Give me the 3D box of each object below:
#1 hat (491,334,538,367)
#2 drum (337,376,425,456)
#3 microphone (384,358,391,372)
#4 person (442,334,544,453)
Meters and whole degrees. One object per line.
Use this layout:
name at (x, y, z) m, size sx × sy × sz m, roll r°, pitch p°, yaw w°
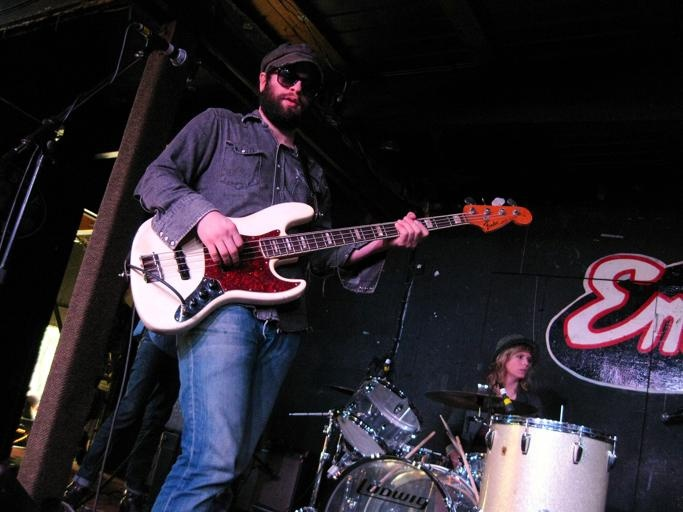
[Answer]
hat at (1.728, 0.925, 5.255) m, size 0.313 × 0.283 × 0.123 m, roll -21°, pitch 42°, yaw 39°
drum at (0.216, 1.306, 4.257) m, size 0.589 × 0.538 × 0.462 m, roll -15°, pitch 31°, yaw 53°
microphone at (0.462, 1.092, 5.270) m, size 0.033 × 0.146 × 0.101 m, roll 15°, pitch -2°, yaw -37°
person at (1.349, 1.211, 4.604) m, size 0.835 × 0.429 × 1.110 m, roll 14°, pitch 58°, yaw 14°
